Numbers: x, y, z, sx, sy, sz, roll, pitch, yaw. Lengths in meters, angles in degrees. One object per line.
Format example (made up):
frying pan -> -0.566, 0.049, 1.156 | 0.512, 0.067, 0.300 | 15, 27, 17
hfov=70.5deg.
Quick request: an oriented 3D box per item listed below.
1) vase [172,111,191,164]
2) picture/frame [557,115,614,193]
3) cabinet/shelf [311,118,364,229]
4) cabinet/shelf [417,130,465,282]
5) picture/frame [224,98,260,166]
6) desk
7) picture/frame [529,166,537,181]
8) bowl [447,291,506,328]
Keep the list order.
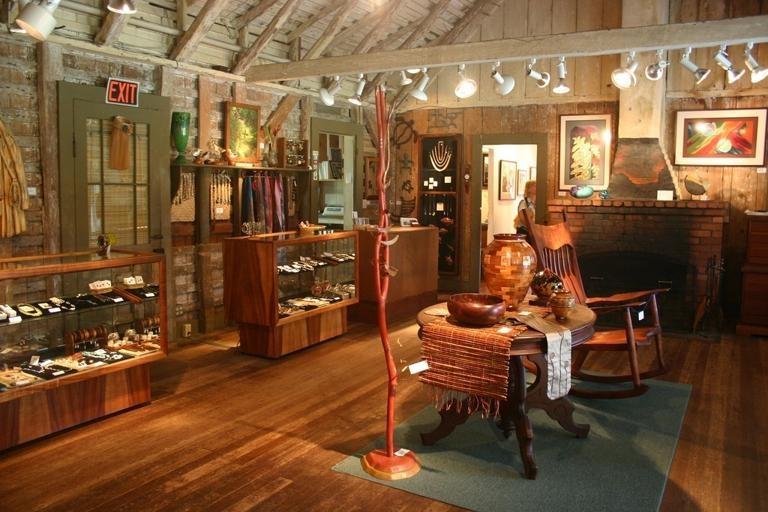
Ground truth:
vase -> -2.508, -1.491, 6.732 | 0.277, 0.582, 0.252 | -10, 17, -36
picture/frame -> 3.128, -1.602, 8.470 | 0.796, 1.173, 0.315 | 4, 15, 15
cabinet/shelf -> -0.877, -1.384, 9.198 | 0.608, 1.842, 1.381 | 8, 16, 30
cabinet/shelf -> 0.974, -0.877, 9.570 | 0.885, 2.390, 0.473 | 5, 15, 18
picture/frame -> -1.945, -1.650, 7.344 | 0.260, 0.820, 0.673 | 7, 15, 25
desk -> 0.993, 1.020, 4.263 | 1.466, 1.137, 0.796 | 1, 14, 2
picture/frame -> 3.391, -1.909, 12.391 | 0.093, 0.265, 0.538 | 6, 14, 21
bowl -> 0.674, 0.390, 4.072 | 0.300, 0.124, 0.310 | -1, 4, 0
